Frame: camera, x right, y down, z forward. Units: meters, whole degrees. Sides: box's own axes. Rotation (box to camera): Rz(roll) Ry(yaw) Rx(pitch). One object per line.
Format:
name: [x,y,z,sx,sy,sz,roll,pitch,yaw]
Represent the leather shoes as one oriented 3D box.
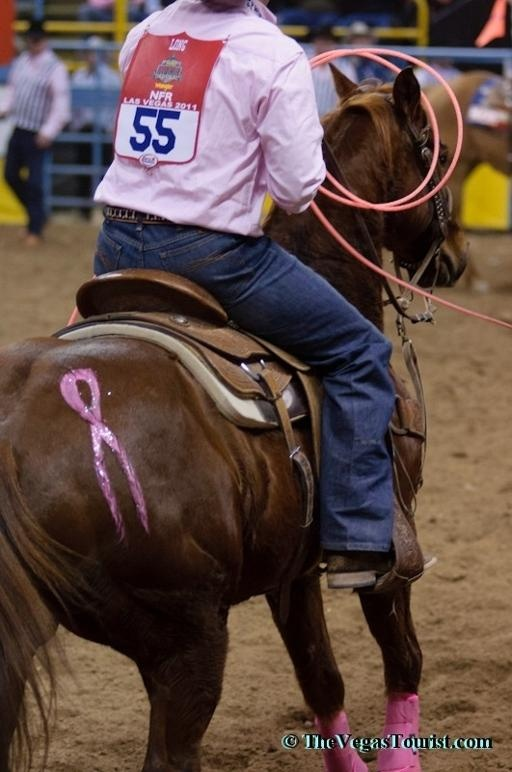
leather shoes: [0.268,0.392,2.287,0.252,0.100,0.089,-4,3,-29]
